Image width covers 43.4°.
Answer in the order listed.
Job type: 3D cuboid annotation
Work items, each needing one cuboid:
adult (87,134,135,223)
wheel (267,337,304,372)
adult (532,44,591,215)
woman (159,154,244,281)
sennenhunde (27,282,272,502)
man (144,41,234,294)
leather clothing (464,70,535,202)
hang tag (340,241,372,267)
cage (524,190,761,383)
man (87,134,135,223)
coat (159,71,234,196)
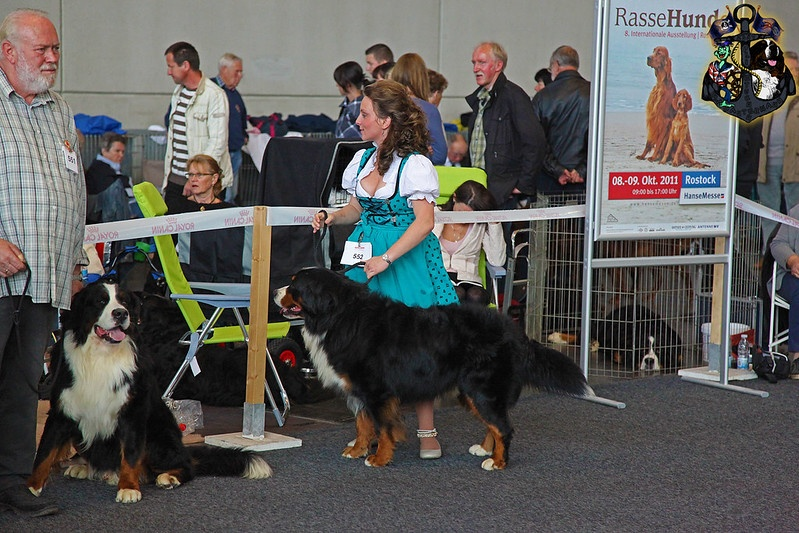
[{"bbox_3d":[-3.325,-0.985,11.003,0.492,0.881,0.660,-3,14,-18],"label":"adult"},{"bbox_3d":[-0.941,0.717,8.123,0.117,0.335,0.318,0,-14,41],"label":"wheel"},{"bbox_3d":[1.820,-1.095,10.086,0.674,2.211,0.661,-4,22,-4],"label":"adult"},{"bbox_3d":[-1.653,-0.190,8.403,0.643,1.534,0.427,5,24,10],"label":"woman"},{"bbox_3d":[-1.727,0.779,6.477,1.006,1.287,1.497,1,-3,44],"label":"sennenhunde"},{"bbox_3d":[-2.231,-0.904,10.499,0.855,2.888,0.796,10,18,33],"label":"man"},{"bbox_3d":[1.074,-1.239,9.697,0.839,1.197,0.463,9,19,39],"label":"leather clothing"},{"bbox_3d":[-0.258,-0.085,6.857,0.177,0.143,0.025,0,-19,22],"label":"hang tag"},{"bbox_3d":[2.256,0.294,9.192,2.130,1.664,1.547,1,0,-16],"label":"cage"},{"bbox_3d":[-3.325,-0.985,11.003,0.492,0.881,0.660,-3,14,-18],"label":"man"},{"bbox_3d":[-2.162,-1.379,10.412,0.898,1.173,0.595,11,8,35],"label":"coat"}]
